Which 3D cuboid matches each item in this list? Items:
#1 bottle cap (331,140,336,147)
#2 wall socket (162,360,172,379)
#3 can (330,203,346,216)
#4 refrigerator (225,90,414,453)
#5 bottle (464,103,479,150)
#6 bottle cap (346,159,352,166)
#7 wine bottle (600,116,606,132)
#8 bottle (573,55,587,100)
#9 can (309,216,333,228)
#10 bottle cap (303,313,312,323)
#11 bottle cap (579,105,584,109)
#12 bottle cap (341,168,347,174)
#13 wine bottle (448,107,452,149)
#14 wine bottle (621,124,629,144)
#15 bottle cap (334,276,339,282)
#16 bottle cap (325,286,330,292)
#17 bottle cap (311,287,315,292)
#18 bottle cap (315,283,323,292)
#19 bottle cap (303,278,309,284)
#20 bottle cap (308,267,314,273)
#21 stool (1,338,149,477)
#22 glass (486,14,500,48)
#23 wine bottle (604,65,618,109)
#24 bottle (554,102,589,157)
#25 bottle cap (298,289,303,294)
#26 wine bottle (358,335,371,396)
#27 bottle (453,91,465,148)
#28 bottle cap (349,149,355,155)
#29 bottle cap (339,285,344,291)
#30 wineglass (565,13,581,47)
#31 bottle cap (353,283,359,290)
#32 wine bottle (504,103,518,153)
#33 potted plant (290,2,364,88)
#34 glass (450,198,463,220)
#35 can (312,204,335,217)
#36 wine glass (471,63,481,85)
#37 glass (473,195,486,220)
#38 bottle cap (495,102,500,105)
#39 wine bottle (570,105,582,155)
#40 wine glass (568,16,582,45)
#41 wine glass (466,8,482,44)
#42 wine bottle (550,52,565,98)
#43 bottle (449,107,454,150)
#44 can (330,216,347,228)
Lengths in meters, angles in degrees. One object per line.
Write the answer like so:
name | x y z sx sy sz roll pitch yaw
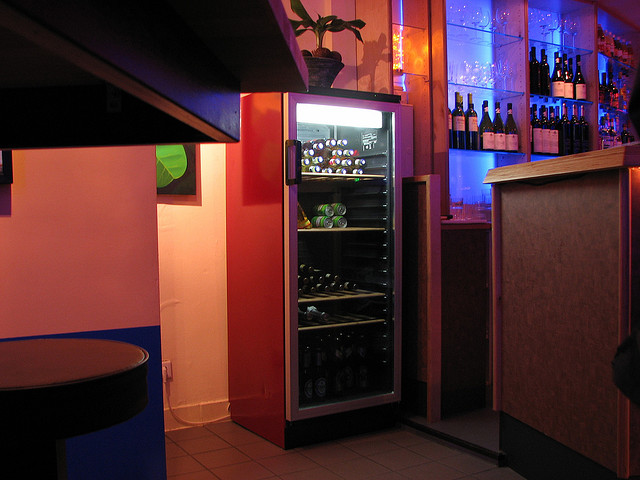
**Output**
bottle cap | 0.081 -0.607 3.464 0.028 0.053 0.027 1 -3 -37
wall socket | -0.942 0.801 3.408 0.054 0.117 0.028 -4 3 -32
can | 0.121 -0.196 3.536 0.128 0.078 0.075 2 23 45
refrigerator | 0.019 0.143 3.469 1.126 2.112 0.713 -3 3 -22
bottle | 1.086 -0.813 3.972 0.175 0.327 0.063 -4 3 -31
bottle cap | 0.185 -0.490 3.495 0.034 0.039 0.009 -4 3 -34
wine bottle | 2.531 -1.037 4.932 0.035 0.125 0.073 -1 3 27
bottle | 2.111 -1.318 4.487 0.102 0.368 0.171 -1 3 26
can | -0.003 -0.117 3.525 0.137 0.087 0.085 2 15 19
bottle cap | -0.081 0.482 3.426 0.051 0.099 0.049 -1 -2 45
bottle cap | 2.149 -1.093 4.542 0.025 0.026 0.047 1 8 16
bottle cap | 0.149 -0.439 3.522 0.026 0.051 0.027 0 0 27
wine bottle | 0.924 -0.772 3.912 0.020 0.260 0.118 -1 3 16
wine bottle | 2.758 -0.965 4.996 0.059 0.176 0.180 -1 3 30
bottle cap | 0.104 0.261 3.586 0.025 0.048 0.025 2 -3 -45
bottle cap | 0.044 0.315 3.532 0.030 0.037 0.009 -3 3 -19
bottle cap | -0.046 0.319 3.526 0.020 0.021 0.020 1 2 -31
bottle cap | -0.008 0.304 3.521 0.040 0.078 0.041 0 1 0
bottle cap | -0.089 0.261 3.495 0.020 0.037 0.042 0 4 39
bottle cap | -0.062 0.191 3.564 0.022 0.023 0.029 -3 -6 44
stool | -0.598 0.423 1.342 0.345 0.326 0.334 -4 3 -23
glass | 1.282 -1.565 4.087 0.086 0.213 0.324 -1 3 20
wine bottle | 2.545 -1.344 4.844 0.114 0.371 0.117 -2 6 0
bottle | 1.984 -0.902 4.450 0.425 0.441 0.210 -5 4 -36
bottle cap | -0.125 0.326 3.461 0.022 0.043 0.022 -2 -3 38
wine bottle | 0.272 0.797 3.545 0.041 0.363 0.101 0 4 39
bottle | 0.993 -0.858 3.966 0.083 0.398 0.212 -2 3 14
bottle cap | 0.194 -0.563 3.520 0.033 0.047 0.025 6 -12 -39
bottle cap | 0.138 0.312 3.636 0.020 0.035 0.024 1 0 -16
wineglass | 2.085 -1.749 4.554 0.118 0.280 0.089 -1 3 27
bottle cap | 0.234 0.307 3.654 0.035 0.039 0.023 0 4 38
wine bottle | 1.421 -0.836 4.110 0.091 0.377 0.196 -1 3 18
potted plant | 0.066 -1.221 3.464 0.420 0.638 0.609 -2 3 5
glass | 0.992 -0.231 4.023 0.088 0.155 0.444 -2 3 15
can | 0.010 -0.186 3.554 0.143 0.081 0.091 0 4 36
wine glass | 1.143 -1.216 4.043 0.056 0.170 0.139 -1 3 24
glass | 1.181 -0.247 4.090 0.090 0.180 0.377 -2 3 16
bottle cap | 1.338 -1.032 4.175 0.027 0.028 0.050 8 7 14
wine bottle | 2.091 -0.912 4.511 0.088 0.403 0.169 -1 3 25
wine glass | 2.098 -1.734 4.555 0.117 0.203 0.051 -2 3 -2
wine glass | 1.123 -1.577 4.025 0.096 0.212 0.296 -1 3 18
wine bottle | 1.884 -1.298 4.391 0.105 0.350 0.188 -1 3 25
bottle | 0.935 -0.777 3.922 0.032 0.268 0.132 -2 3 14
can | 0.121 -0.108 3.544 0.121 0.075 0.073 3 -5 35
